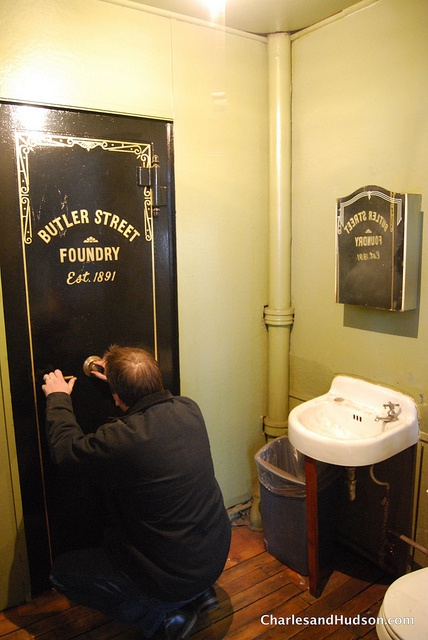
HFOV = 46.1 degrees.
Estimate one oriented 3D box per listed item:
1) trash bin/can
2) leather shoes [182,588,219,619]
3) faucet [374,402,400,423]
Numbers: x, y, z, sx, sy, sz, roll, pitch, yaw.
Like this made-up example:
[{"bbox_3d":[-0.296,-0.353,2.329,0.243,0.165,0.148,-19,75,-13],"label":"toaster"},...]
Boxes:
[{"bbox_3d":[0.369,0.838,2.322,0.294,0.518,0.306,10,24,32],"label":"trash bin/can"},{"bbox_3d":[-0.040,1.001,1.798,0.056,0.084,0.175,1,0,27],"label":"leather shoes"},{"bbox_3d":[0.703,0.390,2.031,0.041,0.092,0.078,19,2,-22],"label":"faucet"}]
